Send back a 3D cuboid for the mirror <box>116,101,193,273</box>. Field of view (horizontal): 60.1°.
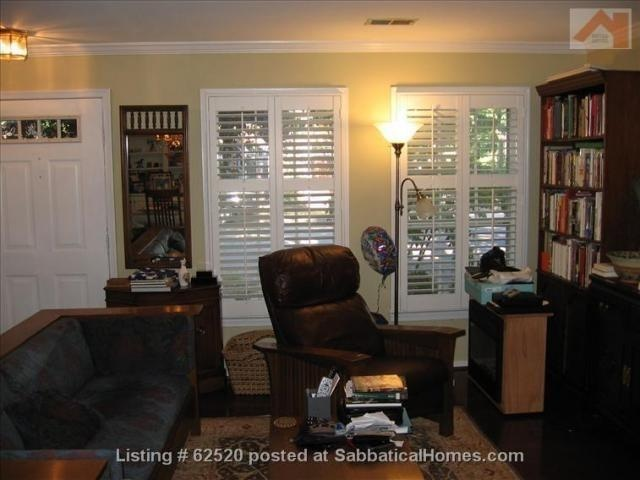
[{"bbox_3d":[-1.346,-0.433,4.552,0.541,1.305,0.243,-1,15,-2],"label":"mirror"}]

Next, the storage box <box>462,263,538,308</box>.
[{"bbox_3d":[1.350,0.338,4.265,0.413,0.198,0.584,-3,6,1],"label":"storage box"}]

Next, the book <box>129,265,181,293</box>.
[{"bbox_3d":[-1.275,0.305,4.269,0.364,0.148,0.233,-3,15,-13],"label":"book"}]

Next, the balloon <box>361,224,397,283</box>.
[{"bbox_3d":[0.463,0.100,4.308,0.227,0.401,0.134,-15,5,10],"label":"balloon"}]

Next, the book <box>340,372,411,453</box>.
[{"bbox_3d":[0.287,0.869,2.750,0.232,0.160,0.329,-1,9,-2],"label":"book"}]
